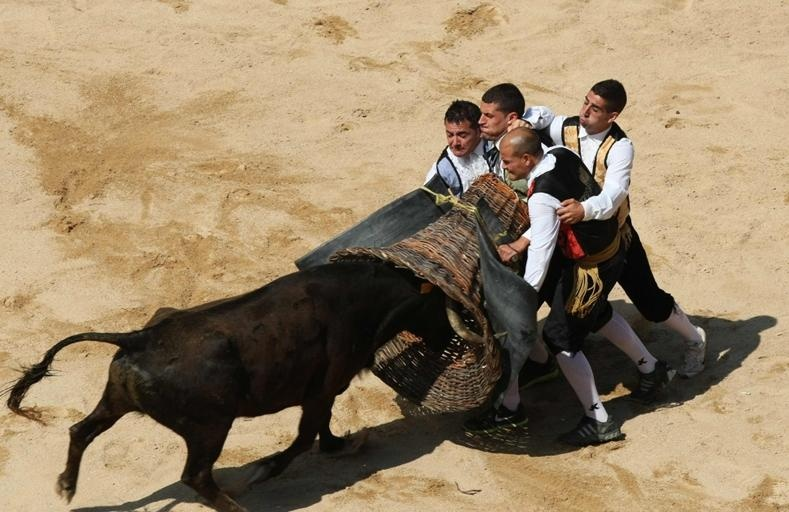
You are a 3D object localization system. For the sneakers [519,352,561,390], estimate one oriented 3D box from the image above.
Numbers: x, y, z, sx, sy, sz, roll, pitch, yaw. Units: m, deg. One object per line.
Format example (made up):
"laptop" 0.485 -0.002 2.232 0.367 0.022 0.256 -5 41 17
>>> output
"sneakers" 1.725 1.400 15.330 0.687 0.252 0.228 -18 38 -14

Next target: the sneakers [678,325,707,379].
"sneakers" 3.550 1.134 15.036 0.262 0.301 0.617 5 89 44
